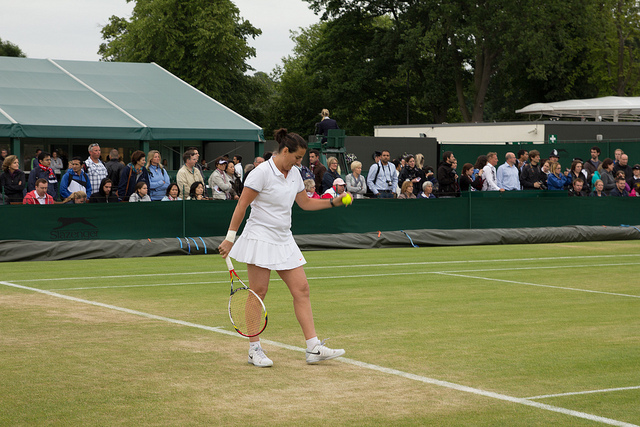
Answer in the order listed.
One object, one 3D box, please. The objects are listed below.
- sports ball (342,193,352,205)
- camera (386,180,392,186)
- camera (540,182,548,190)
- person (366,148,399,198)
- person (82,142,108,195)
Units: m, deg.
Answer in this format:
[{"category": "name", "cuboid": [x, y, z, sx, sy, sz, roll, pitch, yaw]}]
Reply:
[{"category": "sports ball", "cuboid": [0.373, -0.188, 10.541, 0.128, 0.127, 0.150, 28, -31, 21]}, {"category": "camera", "cuboid": [2.071, -0.904, 22.613, 0.131, 0.220, 0.125, 4, -3, -4]}, {"category": "camera", "cuboid": [7.096, -0.872, 23.962, 0.163, 0.261, 0.740, 4, 9, 23]}, {"category": "person", "cuboid": [1.901, -1.141, 22.454, 0.970, 1.389, 0.681, -2, 9, -12]}, {"category": "person", "cuboid": [-6.007, -1.191, 20.301, 0.623, 1.345, 1.464, -3, 9, -17]}]
